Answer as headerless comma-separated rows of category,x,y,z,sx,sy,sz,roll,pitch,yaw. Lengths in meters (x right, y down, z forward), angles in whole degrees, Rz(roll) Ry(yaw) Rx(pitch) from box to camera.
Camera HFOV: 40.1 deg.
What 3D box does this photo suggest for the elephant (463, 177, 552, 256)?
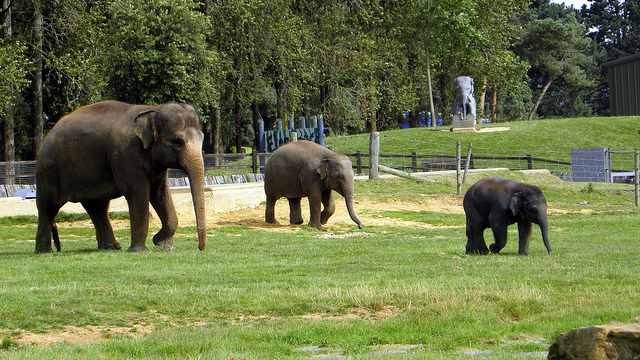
elephant,7.703,1.624,36.987,3.328,3.048,1.536,2,14,8
